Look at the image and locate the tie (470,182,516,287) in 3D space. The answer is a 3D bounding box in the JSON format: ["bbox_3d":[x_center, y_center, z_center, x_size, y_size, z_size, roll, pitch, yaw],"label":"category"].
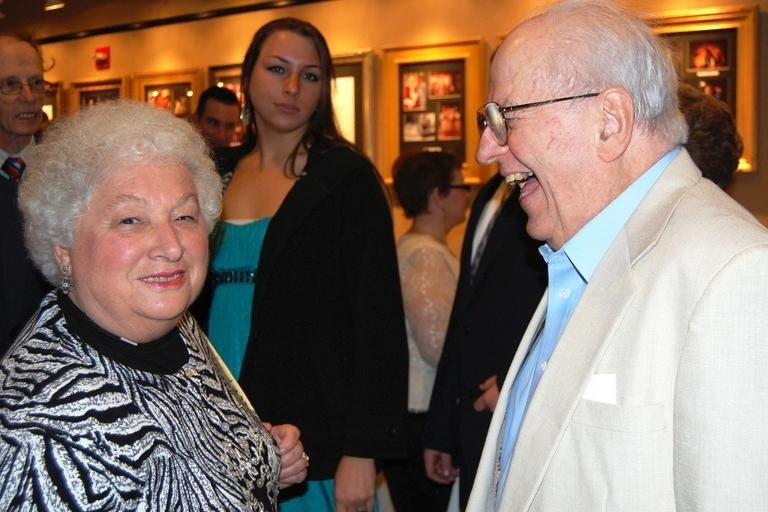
[{"bbox_3d":[0.519,-0.102,2.813,0.099,0.344,0.259,14,-16,-11],"label":"tie"}]
